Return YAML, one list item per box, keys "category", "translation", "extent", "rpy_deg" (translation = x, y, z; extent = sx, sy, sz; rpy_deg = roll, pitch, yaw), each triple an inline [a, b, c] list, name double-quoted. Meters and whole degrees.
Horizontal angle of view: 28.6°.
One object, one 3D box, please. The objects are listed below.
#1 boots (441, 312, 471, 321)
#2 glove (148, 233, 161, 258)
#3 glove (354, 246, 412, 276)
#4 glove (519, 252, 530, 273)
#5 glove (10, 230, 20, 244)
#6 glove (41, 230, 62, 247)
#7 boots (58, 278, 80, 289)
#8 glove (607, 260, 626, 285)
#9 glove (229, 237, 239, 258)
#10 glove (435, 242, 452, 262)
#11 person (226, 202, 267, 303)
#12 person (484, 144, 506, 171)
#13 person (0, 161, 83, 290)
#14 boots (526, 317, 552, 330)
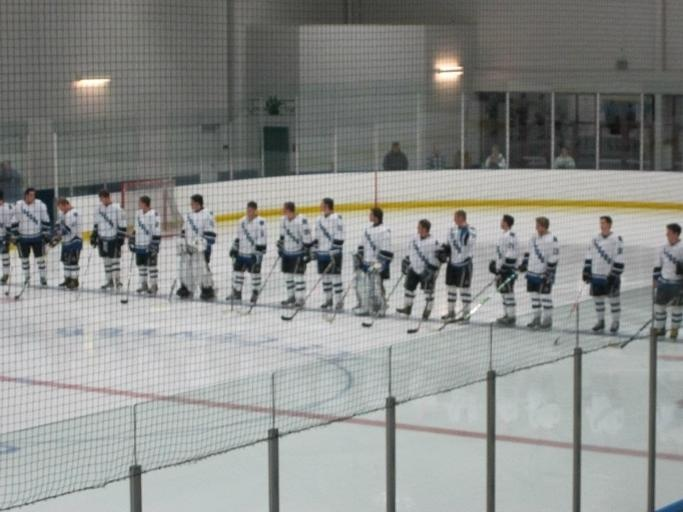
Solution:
- category: "boots"
  translation: [1.471, 0.782, 17.385]
  extent: [0.418, 0.188, 0.129]
  rpy_deg: [1, 1, -10]
- category: "glove"
  translation: [-2.662, -0.161, 19.025]
  extent: [0.189, 0.303, 0.082]
  rpy_deg: [7, 12, -1]
- category: "glove"
  translation: [0.507, 0.022, 17.595]
  extent: [0.528, 0.402, 0.423]
  rpy_deg: [17, 14, 36]
- category: "glove"
  translation: [2.297, 0.060, 17.072]
  extent: [0.127, 0.255, 0.290]
  rpy_deg: [0, 6, 12]
- category: "glove"
  translation: [-4.681, -0.290, 19.267]
  extent: [0.123, 0.163, 0.172]
  rpy_deg: [1, 2, -22]
- category: "glove"
  translation: [-4.149, -0.252, 19.252]
  extent: [0.288, 0.217, 0.107]
  rpy_deg: [-18, -40, 17]
- category: "boots"
  translation: [-3.938, 0.376, 19.379]
  extent: [0.312, 0.227, 0.116]
  rpy_deg: [10, 9, 21]
- category: "glove"
  translation: [3.392, 0.210, 16.785]
  extent: [0.199, 0.308, 0.128]
  rpy_deg: [4, 8, 45]
- category: "glove"
  translation: [-1.461, -0.120, 18.585]
  extent: [0.074, 0.245, 0.171]
  rpy_deg: [9, 12, -28]
- category: "glove"
  translation: [1.298, -0.062, 17.277]
  extent: [0.165, 0.229, 0.076]
  rpy_deg: [3, 8, 11]
- category: "person"
  translation: [-1.318, -0.068, 18.563]
  extent: [0.530, 1.413, 0.340]
  rpy_deg: [2, 7, 35]
- category: "person"
  translation: [2.593, -1.713, 23.112]
  extent: [0.355, 0.394, 0.761]
  rpy_deg: [-1, 6, 10]
- category: "person"
  translation: [-4.232, -0.295, 19.554]
  extent: [1.145, 1.479, 1.073]
  rpy_deg: [-1, 6, 8]
- category: "boots"
  translation: [2.113, 0.719, 14.529]
  extent: [0.119, 0.154, 0.362]
  rpy_deg: [-3, -6, 31]
